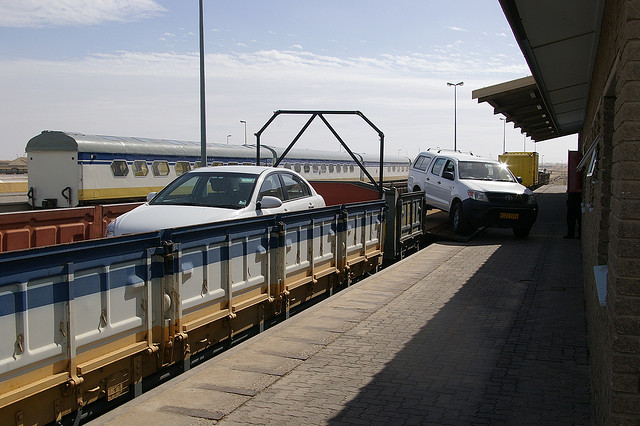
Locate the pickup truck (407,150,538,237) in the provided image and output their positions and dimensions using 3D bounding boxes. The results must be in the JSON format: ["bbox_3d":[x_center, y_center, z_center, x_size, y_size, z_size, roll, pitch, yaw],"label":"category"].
[{"bbox_3d":[6.112,-1.019,19.346,3.125,2.977,6.823,1,8,-12],"label":"pickup truck"}]

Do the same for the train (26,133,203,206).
[{"bbox_3d":[-10.569,-2.402,28.588,3.283,4.344,14.839,2,6,17],"label":"train"}]

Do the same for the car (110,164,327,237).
[{"bbox_3d":[-1.917,-0.302,8.606,1.664,1.438,3.156,2,1,29],"label":"car"}]

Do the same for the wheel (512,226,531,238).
[{"bbox_3d":[7.449,0.687,16.959,0.457,0.478,0.456,2,-2,0],"label":"wheel"}]
